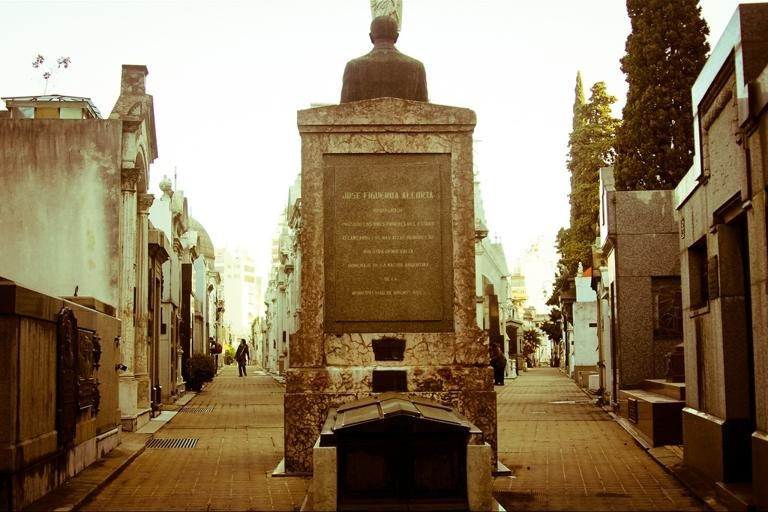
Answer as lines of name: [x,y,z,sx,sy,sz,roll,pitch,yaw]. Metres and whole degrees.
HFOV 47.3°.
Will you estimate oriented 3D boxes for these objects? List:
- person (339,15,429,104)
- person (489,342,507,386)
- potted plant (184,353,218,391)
person: [0.009,-3.489,15.288,1.483,1.680,0.553,1,-8,-2]
person: [4.811,4.539,37.487,0.942,1.686,0.682,-3,17,-4]
potted plant: [-7.772,4.888,36.835,0.674,1.583,1.573,-2,-9,15]
